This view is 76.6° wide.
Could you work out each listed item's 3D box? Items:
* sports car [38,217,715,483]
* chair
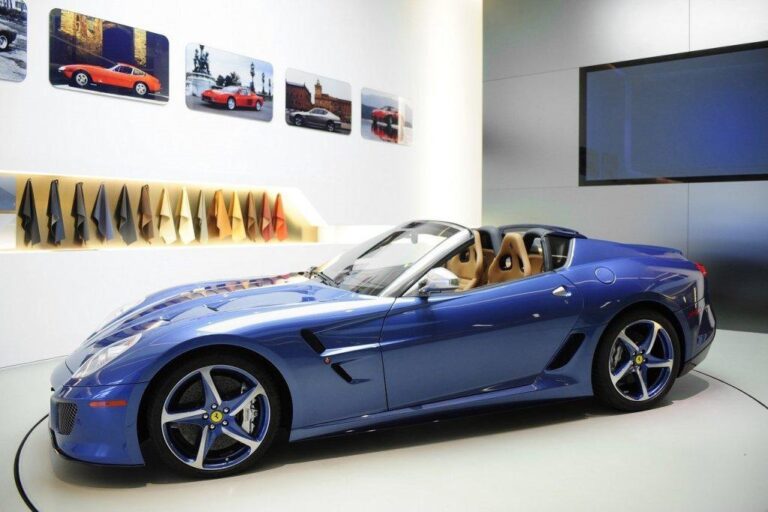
[{"bbox_3d":[0.076,0.687,4.047,4.569,1.457,2.182,-1,-3,-14],"label":"sports car"},{"bbox_3d":[0.994,0.112,4.296,0.736,0.642,0.514,7,-1,-36],"label":"chair"}]
